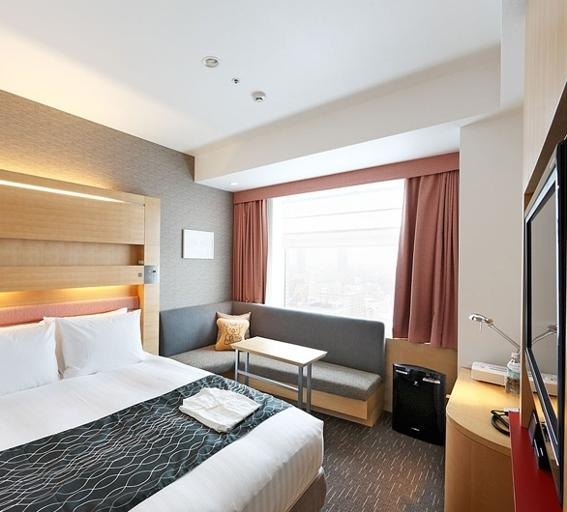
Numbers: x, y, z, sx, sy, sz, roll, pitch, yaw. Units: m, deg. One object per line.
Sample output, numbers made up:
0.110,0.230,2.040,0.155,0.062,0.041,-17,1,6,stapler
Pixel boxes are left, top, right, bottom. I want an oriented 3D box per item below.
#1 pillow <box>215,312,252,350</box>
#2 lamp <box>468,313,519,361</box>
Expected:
-0.548,0.813,4.242,0.387,0.174,0.428,0,33,-10,pillow
1.388,0.513,2.624,0.308,0.303,0.451,6,9,27,lamp
